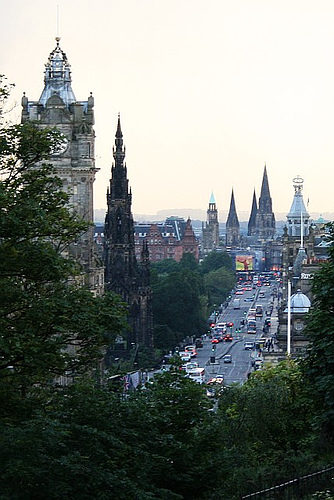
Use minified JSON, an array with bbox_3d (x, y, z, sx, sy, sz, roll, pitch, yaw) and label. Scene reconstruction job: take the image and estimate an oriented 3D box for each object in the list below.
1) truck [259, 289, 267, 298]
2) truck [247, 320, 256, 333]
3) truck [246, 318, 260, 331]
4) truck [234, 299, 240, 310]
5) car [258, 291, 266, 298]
[{"bbox_3d":[21.974,10.062,271.095,1.132,1.429,5.550,-1,5,5],"label":"truck"},{"bbox_3d":[12.485,11.584,173.080,1.327,1.882,3.960,0,-1,1],"label":"truck"},{"bbox_3d":[12.955,11.586,177.946,1.174,1.170,4.036,-1,3,1],"label":"truck"},{"bbox_3d":[13.493,10.774,226.859,1.189,1.817,3.768,0,2,2],"label":"truck"},{"bbox_3d":[20.771,10.267,256.183,1.015,0.974,3.035,2,10,4],"label":"car"}]
